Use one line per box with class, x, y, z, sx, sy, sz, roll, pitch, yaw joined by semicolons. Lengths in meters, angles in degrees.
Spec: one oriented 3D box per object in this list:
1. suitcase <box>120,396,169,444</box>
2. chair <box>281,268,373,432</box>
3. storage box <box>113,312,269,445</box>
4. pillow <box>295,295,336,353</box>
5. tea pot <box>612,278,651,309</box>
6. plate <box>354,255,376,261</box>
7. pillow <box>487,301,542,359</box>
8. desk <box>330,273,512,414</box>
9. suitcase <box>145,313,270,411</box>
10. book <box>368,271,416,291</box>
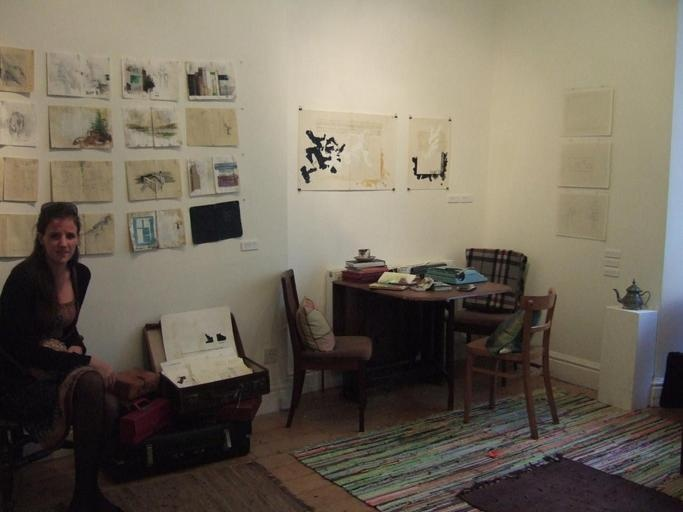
suitcase;-1.227;1.021;3.161;0.092;0.167;0.265;2;6;21
chair;-0.100;0.692;4.031;0.716;1.158;0.676;2;1;4
storage box;-1.016;0.763;3.511;1.103;0.800;0.700;-5;7;-39
pillow;-0.199;0.492;3.940;0.269;0.401;0.468;-4;6;-4
tea pot;2.353;0.329;4.196;0.262;0.204;0.174;1;1;17
plate;0.198;0.017;4.349;0.193;0.034;0.158;-3;11;-15
pillow;1.180;0.534;3.703;0.247;0.355;0.137;3;11;16
desk;0.567;0.615;4.248;1.216;0.947;1.080;-2;5;-32
suitcase;-0.968;0.529;3.510;0.743;0.467;0.742;-5;16;-34
book;0.431;0.202;4.146;0.339;0.084;0.340;6;12;26
